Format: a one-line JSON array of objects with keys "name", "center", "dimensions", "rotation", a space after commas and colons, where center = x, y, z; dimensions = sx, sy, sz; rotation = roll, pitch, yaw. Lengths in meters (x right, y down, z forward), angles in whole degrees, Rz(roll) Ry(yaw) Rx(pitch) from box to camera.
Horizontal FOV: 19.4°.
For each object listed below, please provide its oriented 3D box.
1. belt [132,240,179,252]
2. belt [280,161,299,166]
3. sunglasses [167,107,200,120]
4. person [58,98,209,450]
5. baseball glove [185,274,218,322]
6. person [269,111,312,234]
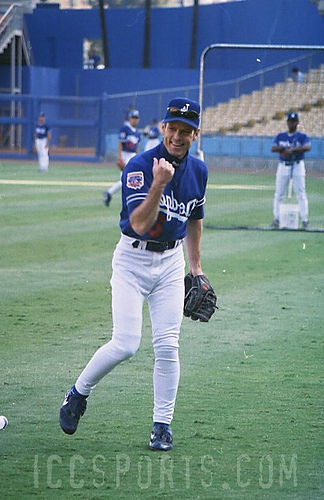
[{"name": "belt", "center": [-0.019, -0.027, 4.936], "dimensions": [0.277, 0.066, 0.073], "rotation": [-5, 13, -31]}, {"name": "belt", "center": [1.587, -1.091, 11.917], "dimensions": [0.229, 0.063, 0.037], "rotation": [6, 13, 22]}, {"name": "sunglasses", "center": [0.105, -0.695, 4.824], "dimensions": [0.087, 0.028, 0.084], "rotation": [14, -4, -3]}, {"name": "person", "center": [-0.065, 0.115, 5.020], "dimensions": [0.485, 1.810, 0.918], "rotation": [12, 16, 42]}, {"name": "baseball glove", "center": [0.223, 0.274, 5.355], "dimensions": [0.094, 0.247, 0.195], "rotation": [-8, 6, 44]}, {"name": "person", "center": [1.680, -1.016, 12.319], "dimensions": [0.564, 1.553, 1.427], "rotation": [3, 12, 7]}]
